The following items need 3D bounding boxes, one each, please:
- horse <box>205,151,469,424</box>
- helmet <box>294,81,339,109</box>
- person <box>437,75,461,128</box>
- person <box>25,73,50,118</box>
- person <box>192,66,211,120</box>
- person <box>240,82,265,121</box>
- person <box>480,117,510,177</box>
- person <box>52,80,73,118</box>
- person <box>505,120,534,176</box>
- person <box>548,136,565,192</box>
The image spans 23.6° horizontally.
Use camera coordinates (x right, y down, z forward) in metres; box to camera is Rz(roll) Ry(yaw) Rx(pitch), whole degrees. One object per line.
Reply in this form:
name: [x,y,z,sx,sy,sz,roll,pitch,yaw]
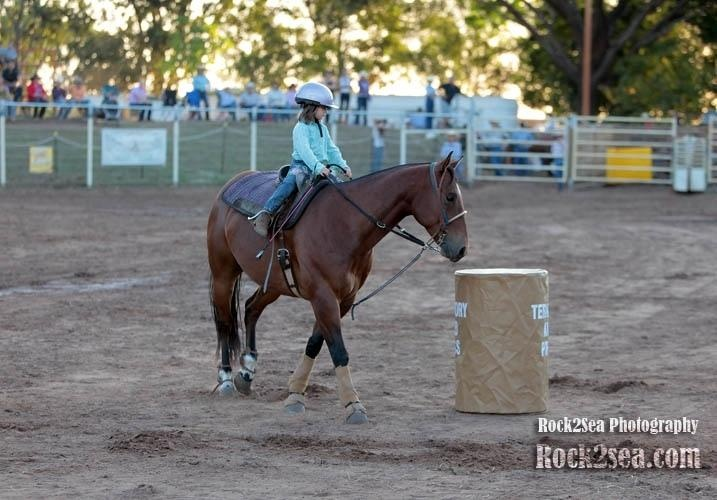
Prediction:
horse: [-0.721,0.698,31.505,5.826,4.878,1.718,3,4,40]
helmet: [-0.807,-2.789,31.088,0.597,0.314,0.444,0,10,0]
person: [2.652,-4.301,50.379,0.588,1.501,1.393,0,2,2]
person: [-6.520,-3.103,35.197,0.271,0.858,0.703,0,2,13]
person: [-4.405,-4.390,48.313,0.459,1.517,1.542,0,2,-5]
person: [-3.059,-4.209,49.878,0.466,1.097,1.089,-22,14,-18]
person: [3.766,-2.855,48.529,0.655,1.552,1.273,0,2,0]
person: [-6.182,-3.126,35.953,0.238,0.770,0.687,0,2,12]
person: [4.503,-2.802,47.974,0.589,1.492,1.158,0,2,2]
person: [5.335,-2.408,46.956,0.409,0.754,1.375,-4,-10,10]
